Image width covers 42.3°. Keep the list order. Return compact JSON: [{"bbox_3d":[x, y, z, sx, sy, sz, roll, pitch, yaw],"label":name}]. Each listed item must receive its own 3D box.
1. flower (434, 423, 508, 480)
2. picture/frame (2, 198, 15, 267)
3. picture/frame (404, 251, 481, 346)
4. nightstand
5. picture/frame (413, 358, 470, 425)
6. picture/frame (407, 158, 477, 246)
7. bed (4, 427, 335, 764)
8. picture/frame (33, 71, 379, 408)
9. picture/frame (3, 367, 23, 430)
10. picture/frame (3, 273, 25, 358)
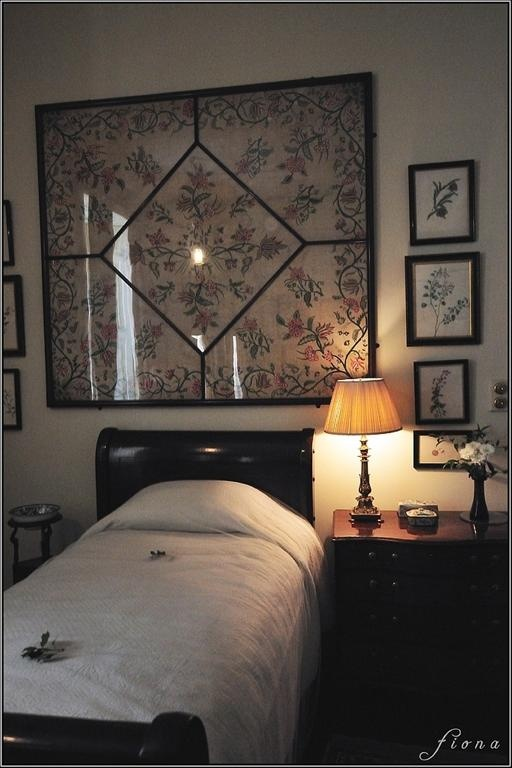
[{"bbox_3d":[0.813,0.254,2.478,0.097,0.216,0.201,-17,-6,-41],"label":"flower"},{"bbox_3d":[-1.113,-0.675,2.984,0.048,0.292,0.051,-2,7,-11],"label":"picture/frame"},{"bbox_3d":[0.735,-0.332,2.572,0.331,0.465,0.034,0,4,17],"label":"picture/frame"},{"bbox_3d":[0.502,0.789,2.379,0.679,0.750,0.529,-2,-8,12],"label":"nightstand"},{"bbox_3d":[0.729,0.030,2.581,0.226,0.308,0.021,-1,6,5],"label":"picture/frame"},{"bbox_3d":[0.727,-0.705,2.560,0.309,0.435,0.028,0,4,8],"label":"picture/frame"},{"bbox_3d":[-0.204,0.467,1.835,0.581,0.544,0.927,-1,-5,10],"label":"bed"},{"bbox_3d":[-0.151,-0.614,2.740,1.301,1.267,0.050,0,5,17],"label":"picture/frame"},{"bbox_3d":[-1.100,0.072,2.996,0.085,0.275,0.052,-1,7,-2],"label":"picture/frame"},{"bbox_3d":[-1.091,-0.302,2.985,0.108,0.368,0.053,0,7,3],"label":"picture/frame"}]
